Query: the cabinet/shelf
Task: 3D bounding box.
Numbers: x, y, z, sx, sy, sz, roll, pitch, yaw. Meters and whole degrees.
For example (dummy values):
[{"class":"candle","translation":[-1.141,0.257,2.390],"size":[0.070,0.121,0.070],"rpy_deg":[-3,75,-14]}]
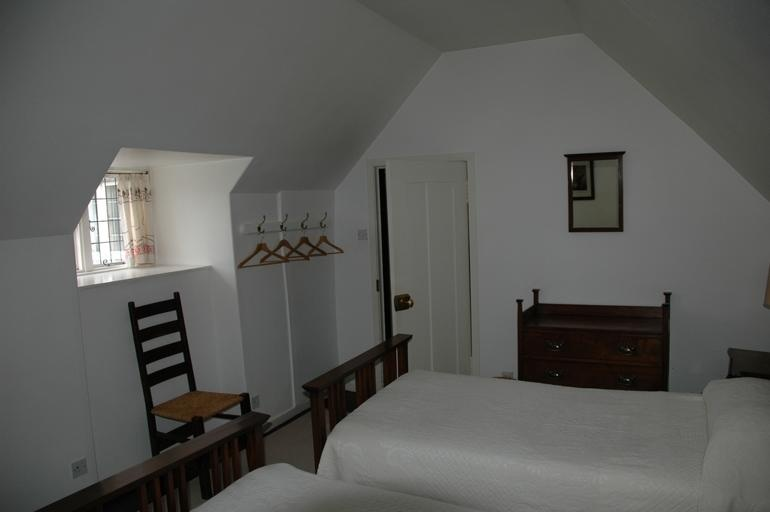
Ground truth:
[{"class":"cabinet/shelf","translation":[1.664,0.668,4.197],"size":[0.852,0.780,0.354],"rpy_deg":[0,1,21]}]
